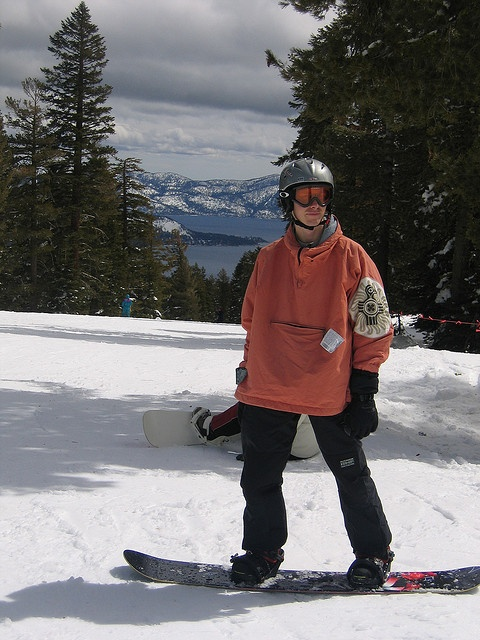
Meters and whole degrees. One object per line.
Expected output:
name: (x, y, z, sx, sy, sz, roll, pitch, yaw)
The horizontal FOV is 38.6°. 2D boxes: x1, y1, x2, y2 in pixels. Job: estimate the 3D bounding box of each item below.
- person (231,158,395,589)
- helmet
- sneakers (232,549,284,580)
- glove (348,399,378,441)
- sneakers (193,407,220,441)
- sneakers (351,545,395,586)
person: (0.353, 0.293, 3.527, 0.916, 2.100, 0.658, 1, -2, 29)
helmet: (0.349, -0.737, 3.609, 0.300, 0.229, 0.314, -4, 17, -10)
sneakers: (0.085, 1.218, 3.436, 0.254, 0.091, 0.127, 1, 7, -26)
glove: (0.599, 0.487, 3.308, 0.157, 0.185, 0.071, 2, -17, -8)
sneakers: (-0.315, 0.860, 5.754, 0.181, 0.273, 0.147, -17, 3, -25)
sneakers: (0.689, 1.267, 3.561, 0.197, 0.219, 0.495, -2, -14, 18)
